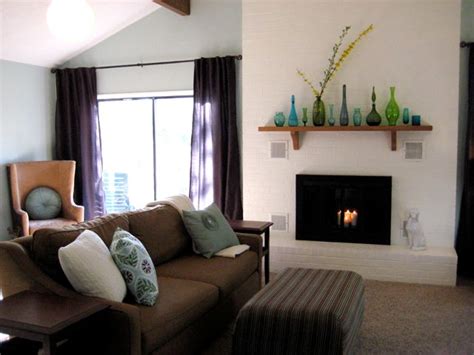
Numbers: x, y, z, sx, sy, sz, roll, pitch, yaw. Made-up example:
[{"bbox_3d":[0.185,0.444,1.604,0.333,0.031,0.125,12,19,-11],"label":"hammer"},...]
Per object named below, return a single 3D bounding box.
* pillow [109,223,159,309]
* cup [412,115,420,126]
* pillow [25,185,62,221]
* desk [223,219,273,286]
[{"bbox_3d":[-0.682,0.618,2.756,0.355,0.566,0.665,-3,11,-14],"label":"pillow"},{"bbox_3d":[2.002,-0.646,4.377,0.099,0.119,0.101,0,6,0],"label":"cup"},{"bbox_3d":[-2.640,0.357,5.309,0.418,0.441,0.210,-28,-2,-36],"label":"pillow"},{"bbox_3d":[0.235,0.746,3.962,0.482,0.703,0.616,-1,-3,12],"label":"desk"}]
